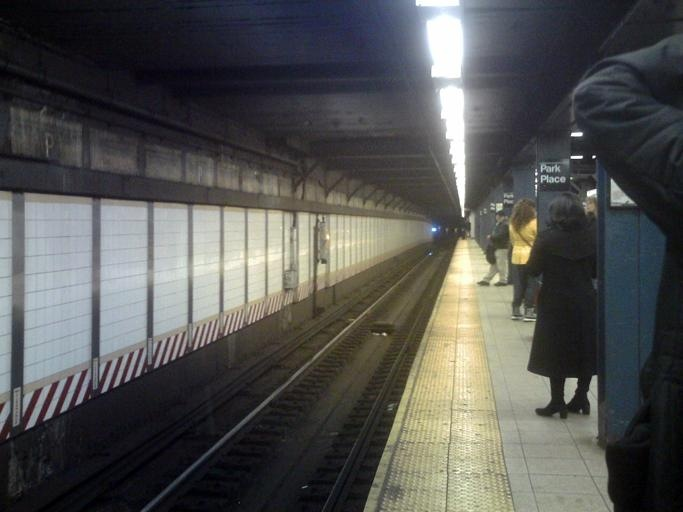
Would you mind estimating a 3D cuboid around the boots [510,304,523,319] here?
[{"bbox_3d":[3.275,1.023,10.974,0.155,0.300,0.417,0,6,12],"label":"boots"}]

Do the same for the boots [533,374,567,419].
[{"bbox_3d":[2.092,1.349,5.816,0.319,0.523,0.162,4,26,31],"label":"boots"}]
